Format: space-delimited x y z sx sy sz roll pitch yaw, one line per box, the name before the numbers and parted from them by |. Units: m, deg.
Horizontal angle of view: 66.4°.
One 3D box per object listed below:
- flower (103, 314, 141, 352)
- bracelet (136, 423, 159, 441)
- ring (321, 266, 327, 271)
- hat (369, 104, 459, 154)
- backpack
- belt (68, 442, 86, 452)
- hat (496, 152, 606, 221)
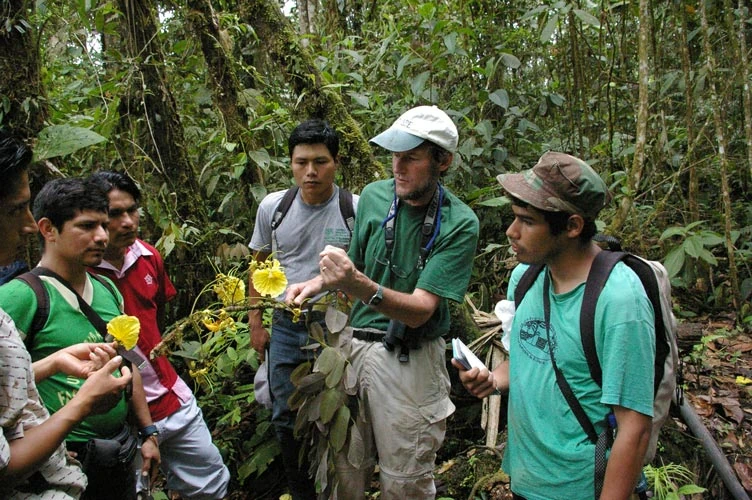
flower | -1.535 0.468 3.467 0.257 0.138 0.241 -11 10 -6
bracelet | -1.526 1.208 3.847 0.099 0.057 0.104 -14 -16 -12
ring | -0.313 0.112 3.454 0.028 0.029 0.007 4 0 34
hat | 0.253 -0.760 3.731 0.476 0.251 0.305 7 16 -13
backpack | 1.540 0.616 3.153 0.311 1.159 0.192 -3 6 -37
belt | -1.843 1.206 3.559 0.077 0.060 0.078 -3 -9 34
hat | 0.965 -0.339 3.198 0.486 0.247 0.357 16 18 2
